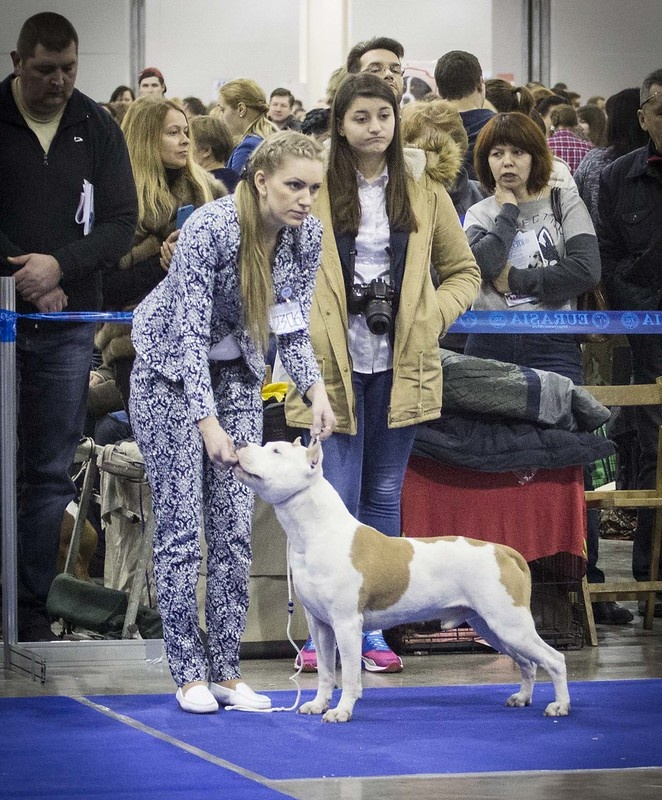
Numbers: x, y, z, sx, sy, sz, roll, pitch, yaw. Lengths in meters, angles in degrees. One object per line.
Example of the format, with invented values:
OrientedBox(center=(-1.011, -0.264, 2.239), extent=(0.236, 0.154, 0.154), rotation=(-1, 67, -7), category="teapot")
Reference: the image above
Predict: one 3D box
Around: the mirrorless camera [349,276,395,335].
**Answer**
OrientedBox(center=(0.134, -0.315, 3.825), extent=(0.148, 0.178, 0.181), rotation=(0, -1, 2), category="mirrorless camera")

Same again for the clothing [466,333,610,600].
OrientedBox(center=(0.871, 0.239, 4.932), extent=(0.699, 0.999, 0.296), rotation=(3, 4, 34), category="clothing")

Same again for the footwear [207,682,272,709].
OrientedBox(center=(-0.251, 0.815, 3.253), extent=(0.135, 0.055, 0.073), rotation=(4, -6, 17), category="footwear")

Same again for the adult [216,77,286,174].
OrientedBox(center=(-0.475, -1.588, 6.890), extent=(0.356, 0.655, 0.660), rotation=(2, 15, 6), category="adult")

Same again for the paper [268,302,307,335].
OrientedBox(center=(-0.119, -0.234, 3.220), extent=(0.089, 0.066, 0.012), rotation=(-17, 3, -41), category="paper")

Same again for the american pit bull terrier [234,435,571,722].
OrientedBox(center=(0.185, 0.512, 3.192), extent=(0.944, 0.711, 0.258), rotation=(5, -8, -22), category="american pit bull terrier")

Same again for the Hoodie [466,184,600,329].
OrientedBox(center=(0.818, -0.633, 4.823), extent=(0.529, 0.575, 0.211), rotation=(0, 0, -8), category="Hoodie")

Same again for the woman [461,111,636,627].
OrientedBox(center=(0.862, -0.222, 4.987), extent=(0.610, 2.017, 0.584), rotation=(0, 13, 14), category="woman")

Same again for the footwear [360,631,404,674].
OrientedBox(center=(0.165, 0.889, 4.078), extent=(0.088, 0.103, 0.221), rotation=(2, -6, -20), category="footwear")

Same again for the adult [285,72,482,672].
OrientedBox(center=(0.131, -0.104, 3.952), extent=(0.721, 2.037, 0.703), rotation=(3, -6, -3), category="adult")

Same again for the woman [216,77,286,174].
OrientedBox(center=(-0.459, -1.573, 6.885), extent=(0.383, 0.694, 0.717), rotation=(2, 12, 11), category="woman")

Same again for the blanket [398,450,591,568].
OrientedBox(center=(0.625, 0.466, 4.822), extent=(0.907, 0.367, 0.946), rotation=(9, -12, -14), category="blanket")

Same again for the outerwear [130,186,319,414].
OrientedBox(center=(-0.273, -0.309, 3.247), extent=(0.438, 0.616, 0.517), rotation=(-15, 45, -37), category="outerwear")
